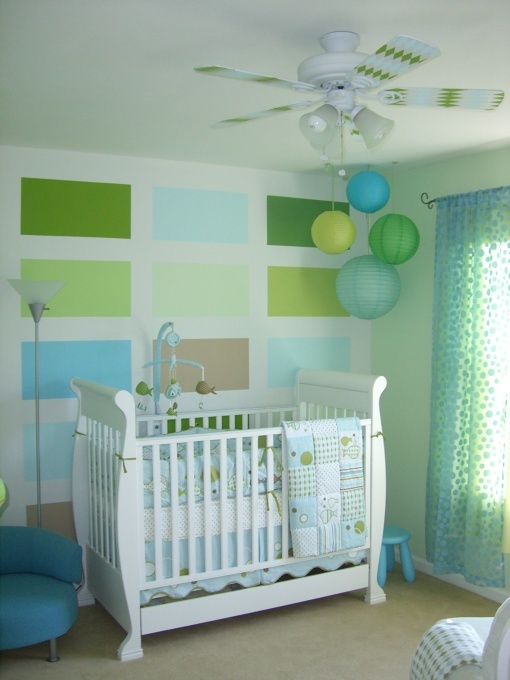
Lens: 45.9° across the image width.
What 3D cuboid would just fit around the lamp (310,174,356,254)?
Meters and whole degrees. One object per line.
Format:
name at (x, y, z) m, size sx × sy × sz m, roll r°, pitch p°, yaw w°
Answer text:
lamp at (0.351, -0.487, 2.681) m, size 0.182 × 0.204 × 0.199 m, roll 0°, pitch -2°, yaw 5°

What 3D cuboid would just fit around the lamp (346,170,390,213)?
lamp at (0.520, -0.694, 2.734) m, size 0.187 × 0.245 × 0.200 m, roll -4°, pitch 24°, yaw -10°

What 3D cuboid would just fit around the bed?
bed at (-0.210, 0.786, 3.094) m, size 1.495 × 1.277 × 1.083 m, roll -1°, pitch 1°, yaw -32°

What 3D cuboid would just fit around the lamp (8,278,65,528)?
lamp at (-1.034, 0.338, 2.838) m, size 0.204 × 1.225 × 0.525 m, roll 1°, pitch -1°, yaw -20°

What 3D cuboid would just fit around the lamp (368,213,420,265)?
lamp at (0.733, -0.496, 3.184) m, size 0.233 × 0.295 × 0.252 m, roll 1°, pitch -3°, yaw 0°

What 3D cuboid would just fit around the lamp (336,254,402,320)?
lamp at (0.648, -0.311, 3.434) m, size 0.332 × 0.408 × 0.329 m, roll -9°, pitch 15°, yaw -37°
